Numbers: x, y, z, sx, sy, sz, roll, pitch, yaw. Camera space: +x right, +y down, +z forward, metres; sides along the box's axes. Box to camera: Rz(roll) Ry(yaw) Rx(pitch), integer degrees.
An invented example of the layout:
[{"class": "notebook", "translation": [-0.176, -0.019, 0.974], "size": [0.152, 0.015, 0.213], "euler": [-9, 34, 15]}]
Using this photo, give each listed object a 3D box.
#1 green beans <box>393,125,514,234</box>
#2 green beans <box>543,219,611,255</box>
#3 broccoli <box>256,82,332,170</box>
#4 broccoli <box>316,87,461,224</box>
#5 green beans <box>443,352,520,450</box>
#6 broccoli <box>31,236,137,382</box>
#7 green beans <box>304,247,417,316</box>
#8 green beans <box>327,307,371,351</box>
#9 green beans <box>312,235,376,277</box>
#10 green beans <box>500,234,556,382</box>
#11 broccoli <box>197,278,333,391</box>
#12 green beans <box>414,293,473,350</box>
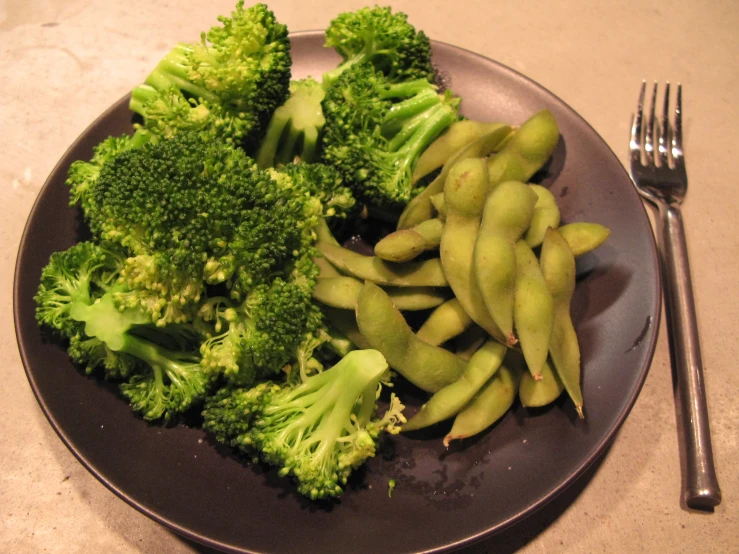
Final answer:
[{"class": "green beans", "translation": [0.354, -0.393, 2.600], "size": [0.128, 0.515, 0.104], "euler": [-3, 65, -43]}, {"class": "green beans", "translation": [0.681, -0.136, 2.325], "size": [0.186, 0.039, 0.121], "euler": [-16, 69, -15]}, {"class": "broccoli", "translation": [-0.256, -0.527, 2.627], "size": [0.233, 0.333, 0.144], "euler": [29, 23, 25]}, {"class": "broccoli", "translation": [0.094, -0.475, 2.554], "size": [0.498, 0.229, 0.399], "euler": [-43, 78, -2]}, {"class": "green beans", "translation": [0.383, 0.410, 2.316], "size": [0.130, 0.401, 0.133], "euler": [19, 26, -41]}, {"class": "broccoli", "translation": [-0.981, 0.048, 2.330], "size": [0.247, 0.113, 0.303], "euler": [-26, 62, 18]}, {"class": "green beans", "translation": [-0.102, 0.042, 2.351], "size": [0.226, 0.052, 0.162], "euler": [12, 70, -3]}, {"class": "green beans", "translation": [-0.064, 0.176, 2.355], "size": [0.153, 0.050, 0.042], "euler": [48, 32, 8]}, {"class": "green beans", "translation": [-0.099, -0.072, 2.408], "size": [0.219, 0.046, 0.088], "euler": [34, 46, 23]}, {"class": "green beans", "translation": [0.508, 0.107, 2.212], "size": [0.121, 0.105, 0.400], "euler": [1, 80, -5]}, {"class": "broccoli", "translation": [-0.298, 0.173, 2.192], "size": [0.296, 0.381, 0.224], "euler": [0, 88, -34]}, {"class": "green beans", "translation": [0.253, 0.167, 2.371], "size": [0.202, 0.072, 0.110], "euler": [-37, 63, 0]}]
